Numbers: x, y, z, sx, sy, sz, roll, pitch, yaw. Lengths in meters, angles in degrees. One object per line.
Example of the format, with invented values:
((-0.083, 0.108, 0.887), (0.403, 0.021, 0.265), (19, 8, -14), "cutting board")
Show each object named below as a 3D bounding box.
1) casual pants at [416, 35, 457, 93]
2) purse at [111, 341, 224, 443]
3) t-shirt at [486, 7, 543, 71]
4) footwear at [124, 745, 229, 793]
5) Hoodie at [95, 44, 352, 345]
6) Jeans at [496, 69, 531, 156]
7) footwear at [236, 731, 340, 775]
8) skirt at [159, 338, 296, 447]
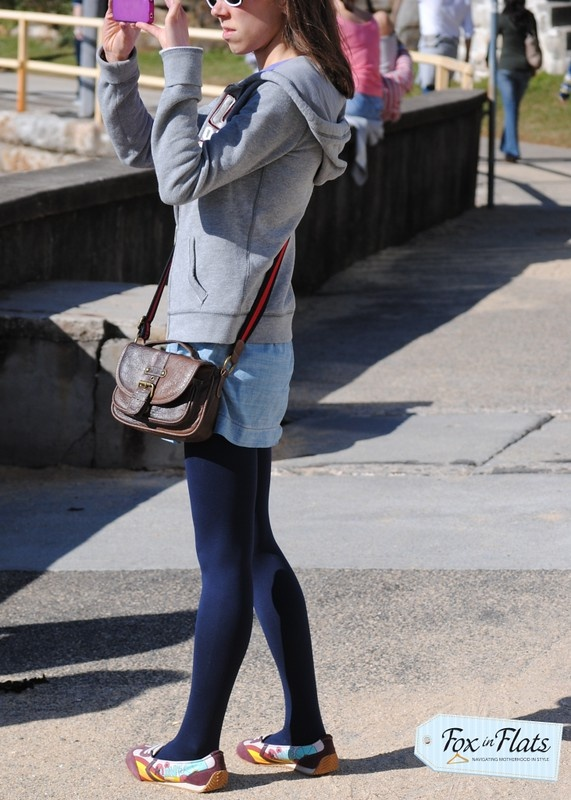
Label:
((1.670, -3.923, 13.223), (0.465, 0.615, 0.476), (-11, 0, -22), "casual pants")
((-0.249, -0.019, 2.346), (0.133, 0.187, 0.309), (5, 7, -44), "purse")
((2.778, -4.242, 13.191), (0.461, 0.747, 0.539), (-1, 16, 8), "t-shirt")
((-0.240, 0.803, 2.449), (0.264, 0.079, 0.084), (4, -11, 17), "footwear")
((-0.049, -0.401, 2.289), (0.432, 0.619, 0.287), (-6, 16, -8), "Hoodie")
((2.829, -3.476, 13.715), (0.398, 1.073, 0.890), (0, 16, 11), "Jeans")
((0.016, 0.809, 2.563), (0.247, 0.070, 0.087), (4, 5, 23), "footwear")
((-0.131, -0.015, 2.298), (0.267, 0.245, 0.156), (9, 1, 7), "skirt")
